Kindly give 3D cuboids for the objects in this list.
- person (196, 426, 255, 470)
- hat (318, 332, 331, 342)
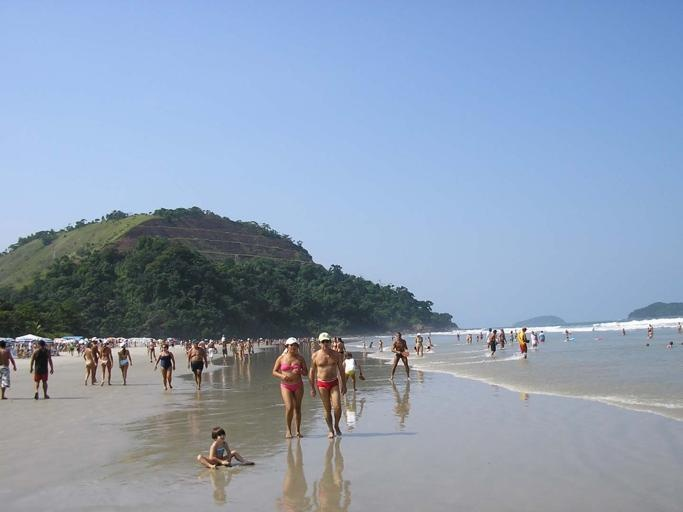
[{"bbox_3d":[-2.408,3.849,11.595,0.770,0.798,1.056,-11,-12,40],"label":"person"},{"bbox_3d":[-0.372,1.851,13.154,0.311,0.274,0.491,-1,-7,-3],"label":"hat"}]
